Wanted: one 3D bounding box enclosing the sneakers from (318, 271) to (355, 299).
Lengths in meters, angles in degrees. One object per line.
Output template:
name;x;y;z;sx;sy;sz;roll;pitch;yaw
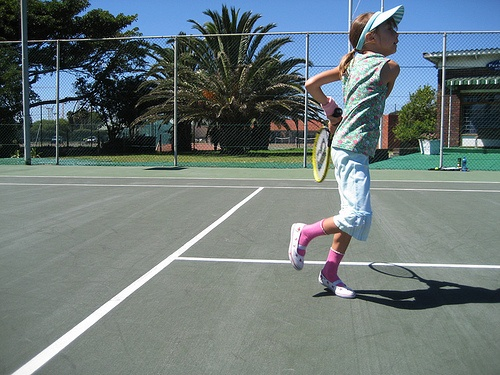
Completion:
sneakers;0.720;0.796;3.233;0.115;0.105;0.295;-2;11;-37

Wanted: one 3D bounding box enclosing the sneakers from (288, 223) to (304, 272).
sneakers;0.413;0.522;3.485;0.145;0.425;0.133;-1;1;13

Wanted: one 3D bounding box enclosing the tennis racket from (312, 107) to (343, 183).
tennis racket;0.679;-0.350;3.654;0.066;0.535;0.284;10;28;-7

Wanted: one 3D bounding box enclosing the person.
person;0.800;-0.319;3.285;0.823;2.366;0.541;3;7;24
